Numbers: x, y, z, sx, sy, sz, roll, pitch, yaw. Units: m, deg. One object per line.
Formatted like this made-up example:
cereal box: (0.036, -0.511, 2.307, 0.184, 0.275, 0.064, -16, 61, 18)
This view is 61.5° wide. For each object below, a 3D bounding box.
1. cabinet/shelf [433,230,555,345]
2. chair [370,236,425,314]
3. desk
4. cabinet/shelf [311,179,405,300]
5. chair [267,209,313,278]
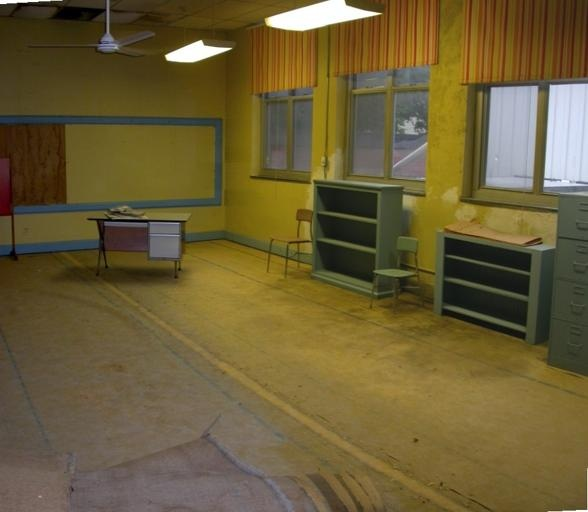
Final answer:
cabinet/shelf: (2.314, 0.318, 5.884, 0.397, 1.071, 1.288, -15, 19, -40)
chair: (1.379, 0.232, 6.614, 0.647, 0.911, 0.654, -4, 8, -11)
desk: (-2.475, -0.180, 7.968, 1.415, 0.886, 0.686, 1, 11, -13)
cabinet/shelf: (0.988, -0.259, 7.404, 0.534, 1.683, 1.662, -1, 6, -32)
chair: (-0.040, -0.258, 8.295, 0.625, 1.044, 0.586, -5, 10, -39)
